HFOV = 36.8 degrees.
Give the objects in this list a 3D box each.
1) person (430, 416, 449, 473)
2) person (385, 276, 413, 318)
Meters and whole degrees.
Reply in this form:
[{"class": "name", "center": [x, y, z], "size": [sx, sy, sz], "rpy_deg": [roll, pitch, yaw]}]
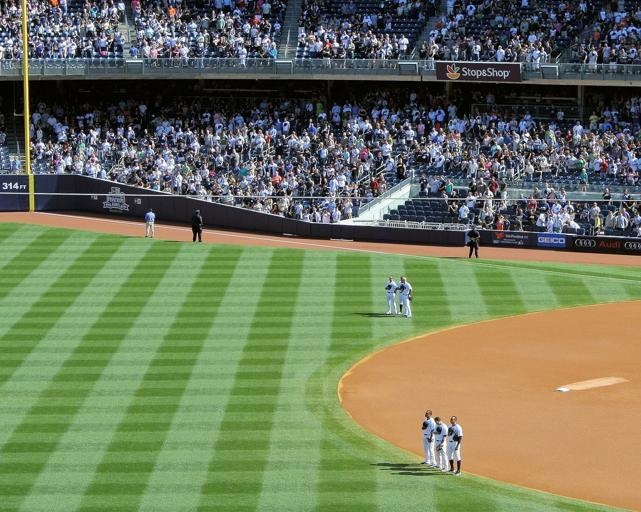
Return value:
[{"class": "person", "center": [2.605, 3.974, 20.780], "size": [0.338, 1.374, 0.838], "rpy_deg": [2, 14, 7]}, {"class": "person", "center": [2.474, 1.360, 30.775], "size": [1.141, 1.523, 0.623], "rpy_deg": [-5, -10, 37]}]
